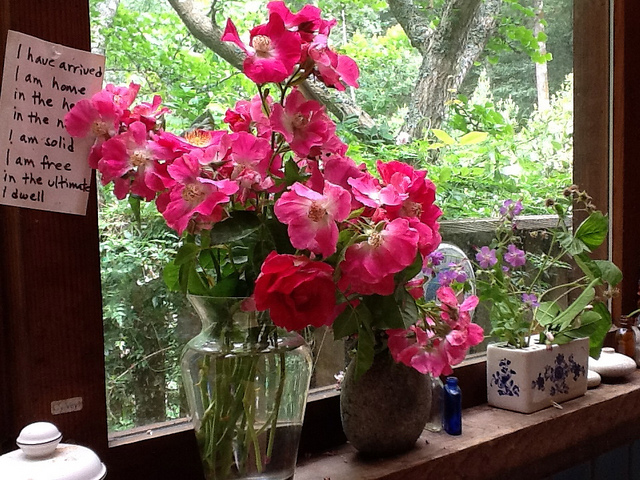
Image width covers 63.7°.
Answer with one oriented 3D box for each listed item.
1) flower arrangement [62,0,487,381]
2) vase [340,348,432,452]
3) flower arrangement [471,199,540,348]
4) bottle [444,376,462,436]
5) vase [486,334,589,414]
[{"bbox_3d":[-0.014,-0.039,0.773,0.668,0.573,0.312,-3,-4,-21],"label":"flower arrangement"},{"bbox_3d":[0.133,0.325,1.082,0.193,0.242,0.194,1,-13,0],"label":"vase"},{"bbox_3d":[0.479,0.157,1.311,0.094,0.261,0.114,10,-40,-9],"label":"flower arrangement"},{"bbox_3d":[0.292,0.367,1.136,0.041,0.091,0.024,-5,-3,7],"label":"bottle"},{"bbox_3d":[0.561,0.333,1.323,0.247,0.151,0.136,-5,3,-32],"label":"vase"}]
